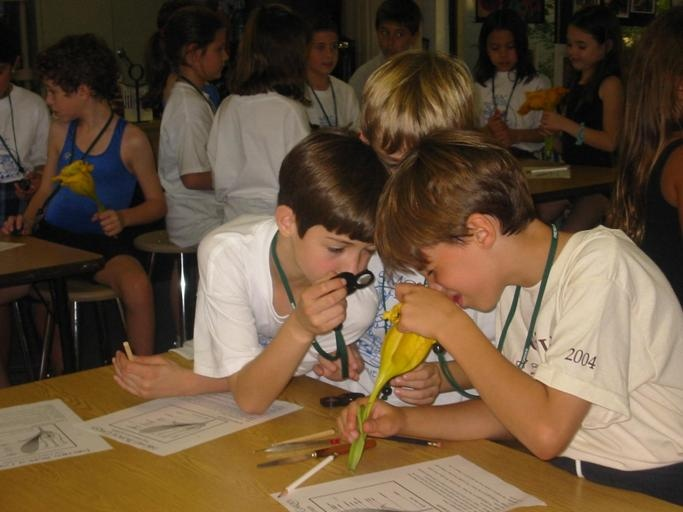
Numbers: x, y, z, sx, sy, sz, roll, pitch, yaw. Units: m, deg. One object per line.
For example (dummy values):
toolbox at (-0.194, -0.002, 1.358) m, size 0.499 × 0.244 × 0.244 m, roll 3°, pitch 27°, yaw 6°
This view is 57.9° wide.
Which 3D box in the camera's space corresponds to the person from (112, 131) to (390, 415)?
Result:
person at (-0.200, 0.047, 1.856) m, size 0.890 × 0.788 × 0.637 m, roll -16°, pitch 31°, yaw -42°

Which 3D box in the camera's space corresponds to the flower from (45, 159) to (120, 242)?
flower at (-1.455, -0.355, 3.424) m, size 0.313 × 0.256 × 0.412 m, roll -20°, pitch -43°, yaw 22°

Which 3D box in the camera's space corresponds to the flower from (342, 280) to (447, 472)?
flower at (0.152, 0.300, 1.547) m, size 0.157 × 0.440 × 0.127 m, roll 28°, pitch -7°, yaw 29°

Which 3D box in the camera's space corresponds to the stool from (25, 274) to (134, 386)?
stool at (-1.561, 0.397, 3.628) m, size 0.621 × 0.734 × 0.613 m, roll -6°, pitch 25°, yaw -27°
